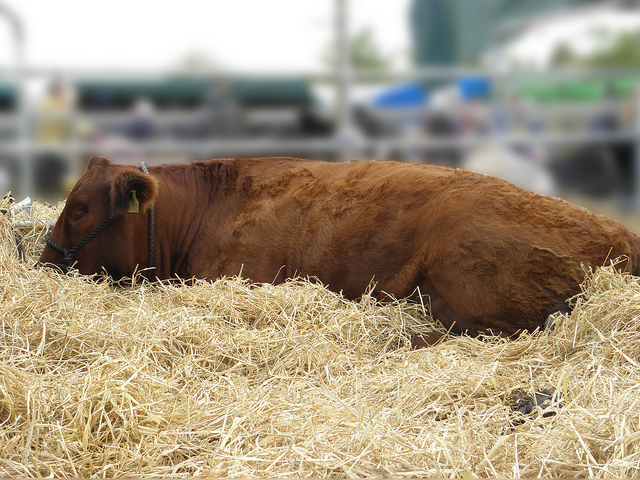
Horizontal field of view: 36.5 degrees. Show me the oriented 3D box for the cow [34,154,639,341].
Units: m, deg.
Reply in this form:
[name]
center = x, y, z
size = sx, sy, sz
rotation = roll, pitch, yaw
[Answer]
[cow]
center = 0.001, 0.086, 5.909
size = 2.725, 1.066, 0.816
rotation = 4, 27, 11
